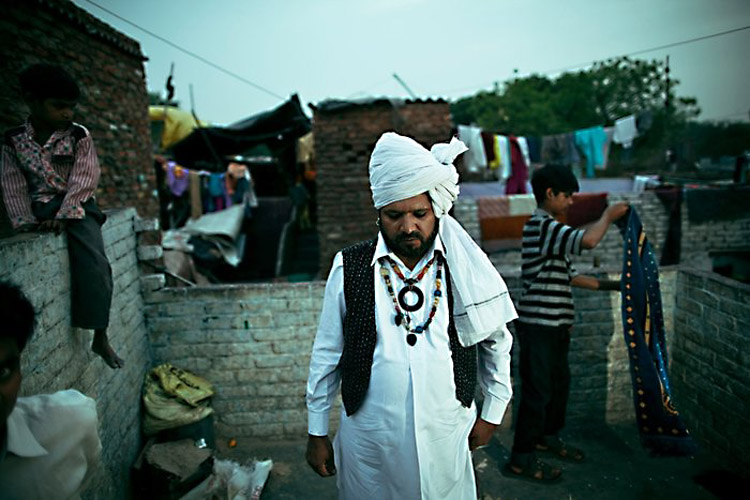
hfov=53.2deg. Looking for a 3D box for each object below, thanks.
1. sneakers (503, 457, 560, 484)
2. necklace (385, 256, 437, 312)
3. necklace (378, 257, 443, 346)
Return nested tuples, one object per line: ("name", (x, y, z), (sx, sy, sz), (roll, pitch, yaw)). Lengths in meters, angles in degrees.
("sneakers", (1.505, 2.100, 7.133), (0.436, 0.217, 0.230), (1, 18, 17))
("necklace", (0.288, 0.272, 5.875), (0.318, 0.471, 0.450), (0, 7, 5))
("necklace", (0.261, 0.408, 5.703), (0.376, 0.699, 0.175), (0, -2, 2))
